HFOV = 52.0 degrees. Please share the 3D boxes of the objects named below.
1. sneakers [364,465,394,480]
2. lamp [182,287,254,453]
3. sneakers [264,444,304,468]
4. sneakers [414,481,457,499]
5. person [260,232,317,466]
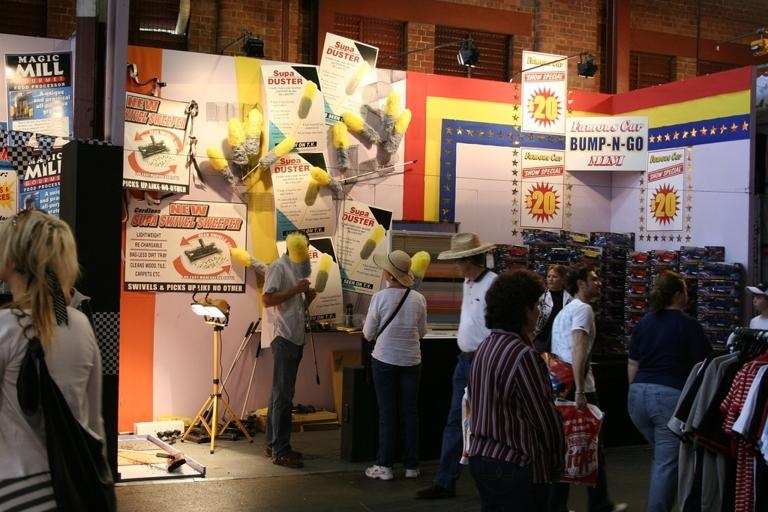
[{"bbox_3d":[-0.046,2.145,7.907,0.296,0.149,0.117,5,1,31],"label":"sneakers"},{"bbox_3d":[-1.944,1.285,9.061,0.760,1.613,1.177,0,7,-13],"label":"lamp"},{"bbox_3d":[-1.070,2.062,8.234,0.429,0.198,0.179,-1,-4,28],"label":"sneakers"},{"bbox_3d":[0.489,2.207,7.465,0.403,0.174,0.140,3,-7,-8],"label":"sneakers"},{"bbox_3d":[-1.014,0.947,8.221,0.520,2.395,0.627,2,7,-1],"label":"person"}]
